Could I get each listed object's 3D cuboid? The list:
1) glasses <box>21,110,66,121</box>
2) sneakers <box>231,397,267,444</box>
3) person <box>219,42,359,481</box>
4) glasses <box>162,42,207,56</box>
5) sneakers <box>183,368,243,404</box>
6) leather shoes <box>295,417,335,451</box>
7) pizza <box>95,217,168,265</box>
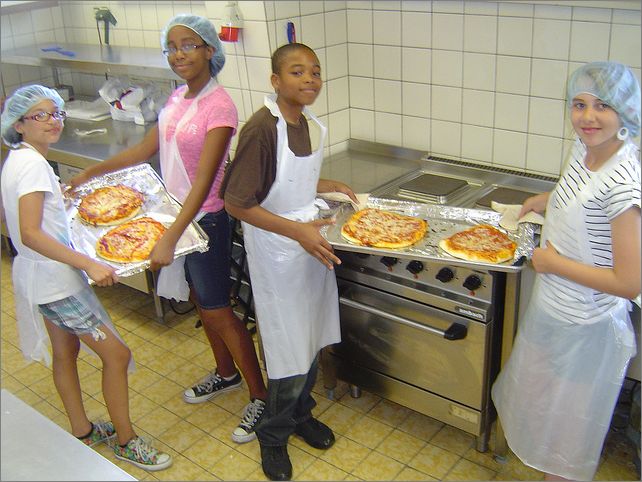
[{"bbox_3d":[-1.092,-0.505,1.927,0.110,0.039,0.195,4,21,9],"label":"glasses"},{"bbox_3d":[-0.325,0.848,2.350,0.093,0.108,0.263,22,23,18],"label":"sneakers"},{"bbox_3d":[-0.104,0.149,1.948,0.495,1.765,0.435,-11,24,-27],"label":"person"},{"bbox_3d":[-0.599,-0.799,2.016,0.190,0.050,0.084,12,23,27],"label":"glasses"},{"bbox_3d":[-0.575,0.772,2.596,0.344,0.118,0.112,-16,38,-22],"label":"sneakers"},{"bbox_3d":[-0.021,0.897,2.225,0.206,0.078,0.102,17,37,29],"label":"leather shoes"},{"bbox_3d":[-0.803,0.003,2.011,0.201,0.022,0.202,-8,35,-14],"label":"pizza"}]
